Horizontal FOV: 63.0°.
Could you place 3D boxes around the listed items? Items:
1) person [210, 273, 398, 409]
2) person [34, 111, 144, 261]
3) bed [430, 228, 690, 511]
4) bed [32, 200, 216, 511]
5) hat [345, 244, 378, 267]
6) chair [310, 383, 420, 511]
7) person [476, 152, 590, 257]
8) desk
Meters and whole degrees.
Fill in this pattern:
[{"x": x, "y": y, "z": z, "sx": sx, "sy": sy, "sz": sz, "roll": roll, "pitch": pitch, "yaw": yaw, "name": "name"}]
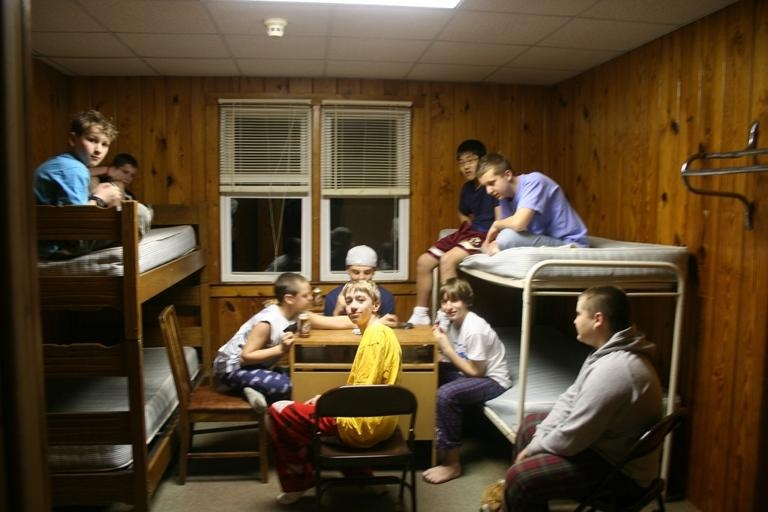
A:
[{"x": -0.696, "y": 0.561, "z": 4.163, "sx": 0.849, "sy": 0.831, "sz": 0.707, "roll": 9, "pitch": 1, "yaw": -37, "name": "person"}, {"x": -1.643, "y": -0.369, "z": 3.547, "sx": 0.636, "sy": 0.797, "sz": 0.379, "roll": 4, "pitch": 9, "yaw": -7, "name": "person"}, {"x": 1.324, "y": 0.358, "z": 4.403, "sx": 1.010, "sy": 1.072, "sz": 1.644, "roll": -1, "pitch": 12, "yaw": 6, "name": "bed"}, {"x": -1.522, "y": 0.616, "z": 3.647, "sx": 0.767, "sy": 1.300, "sz": 1.849, "roll": -2, "pitch": 9, "yaw": -9, "name": "bed"}, {"x": -0.170, "y": -0.002, "z": 4.633, "sx": 0.182, "sy": 0.109, "sz": 0.171, "roll": 2, "pitch": -2, "yaw": -3, "name": "hat"}, {"x": -0.100, "y": 1.051, "z": 3.491, "sx": 0.564, "sy": 0.871, "sz": 0.641, "roll": -2, "pitch": 5, "yaw": -2, "name": "chair"}, {"x": 0.933, "y": -0.252, "z": 4.185, "sx": 0.719, "sy": 0.807, "sz": 0.521, "roll": -5, "pitch": 5, "yaw": -9, "name": "person"}, {"x": -0.142, "y": 0.901, "z": 4.118, "sx": 0.943, "sy": 0.716, "sz": 0.663, "roll": 1, "pitch": -3, "yaw": -2, "name": "desk"}]
